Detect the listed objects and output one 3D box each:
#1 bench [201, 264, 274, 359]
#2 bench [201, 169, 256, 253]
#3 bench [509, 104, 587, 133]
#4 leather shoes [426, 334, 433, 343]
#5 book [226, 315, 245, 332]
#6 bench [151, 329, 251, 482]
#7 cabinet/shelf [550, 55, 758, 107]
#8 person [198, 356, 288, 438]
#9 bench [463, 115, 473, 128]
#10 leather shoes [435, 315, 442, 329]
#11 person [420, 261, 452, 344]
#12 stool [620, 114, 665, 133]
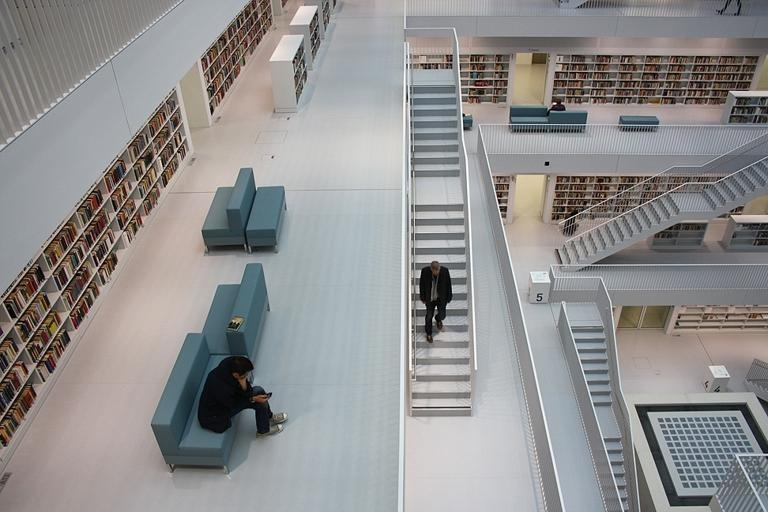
[{"bbox_3d":[-2.739,1.116,9.254,0.896,1.018,1.556,11,57,-4],"label":"bench"},{"bbox_3d":[-3.533,-0.981,11.193,1.101,1.263,1.927,7,53,-2],"label":"bench"},{"bbox_3d":[6.045,-5.138,18.050,2.724,0.728,1.217,4,43,4],"label":"bench"},{"bbox_3d":[1.058,1.890,11.089,0.115,0.177,0.180,-5,65,0],"label":"leather shoes"},{"bbox_3d":[-2.585,1.179,8.607,0.229,0.067,0.336,6,43,8],"label":"book"},{"bbox_3d":[-2.986,2.507,8.420,1.106,0.991,2.084,-5,28,1],"label":"bench"},{"bbox_3d":[11.654,-7.790,21.253,8.104,1.993,0.900,1,43,2],"label":"cabinet/shelf"},{"bbox_3d":[-2.304,2.309,7.931,1.284,1.384,0.695,-2,21,-4],"label":"person"},{"bbox_3d":[3.177,-5.024,18.379,0.354,0.437,0.825,5,43,6],"label":"bench"},{"bbox_3d":[1.267,1.536,11.093,0.142,0.372,0.137,-1,10,6],"label":"leather shoes"},{"bbox_3d":[1.106,0.986,10.583,0.690,2.195,0.565,-10,44,-10],"label":"person"},{"bbox_3d":[9.586,-4.978,18.108,1.524,0.338,0.740,1,39,3],"label":"stool"}]
